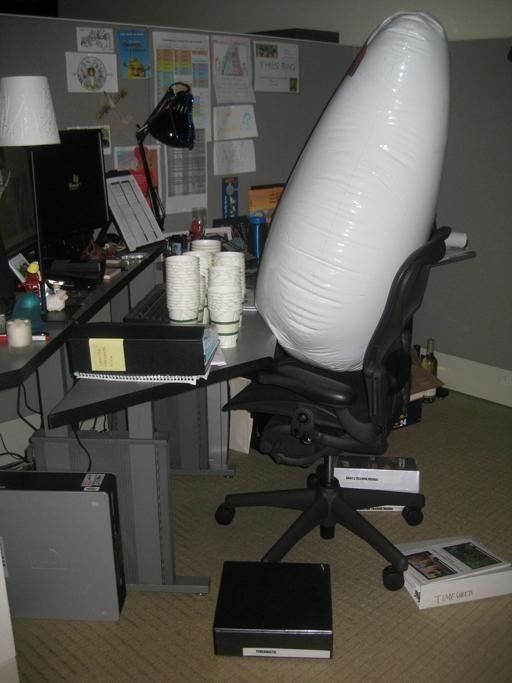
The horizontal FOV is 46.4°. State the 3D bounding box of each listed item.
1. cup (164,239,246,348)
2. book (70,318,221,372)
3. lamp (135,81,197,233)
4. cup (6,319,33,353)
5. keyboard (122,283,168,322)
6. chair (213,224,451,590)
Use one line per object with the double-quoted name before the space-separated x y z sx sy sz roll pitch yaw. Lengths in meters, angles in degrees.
"cup" -0.122 -0.116 1.538 0.200 0.248 0.263 2 15 10
"book" -0.250 0.009 1.340 0.301 0.097 0.169 3 20 4
"lamp" -0.338 -0.739 2.422 0.268 0.584 0.275 -9 22 -24
"cup" -0.504 -0.015 1.311 0.059 0.064 0.058 6 23 -3
"keyboard" -0.294 -0.092 1.602 0.102 0.036 0.152 7 33 11
"chair" 0.171 0.177 1.639 0.595 0.825 0.607 7 14 36
